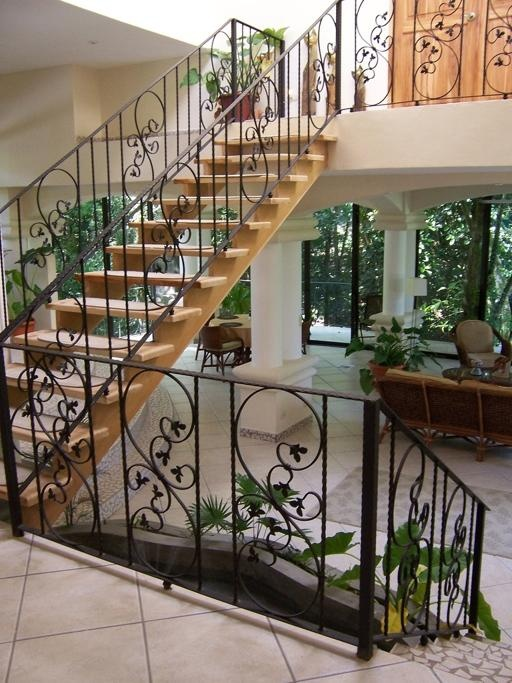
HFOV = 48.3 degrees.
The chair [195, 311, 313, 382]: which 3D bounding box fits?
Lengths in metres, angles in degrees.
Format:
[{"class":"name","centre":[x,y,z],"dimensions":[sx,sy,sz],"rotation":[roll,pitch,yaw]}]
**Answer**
[{"class":"chair","centre":[-0.472,0.064,9.573],"dimensions":[1.365,0.734,1.277],"rotation":[17,30,30]}]

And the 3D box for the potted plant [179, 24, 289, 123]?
[{"class":"potted plant","centre":[-0.129,-2.816,6.168],"dimensions":[0.817,0.701,0.784],"rotation":[3,43,-2]}]
